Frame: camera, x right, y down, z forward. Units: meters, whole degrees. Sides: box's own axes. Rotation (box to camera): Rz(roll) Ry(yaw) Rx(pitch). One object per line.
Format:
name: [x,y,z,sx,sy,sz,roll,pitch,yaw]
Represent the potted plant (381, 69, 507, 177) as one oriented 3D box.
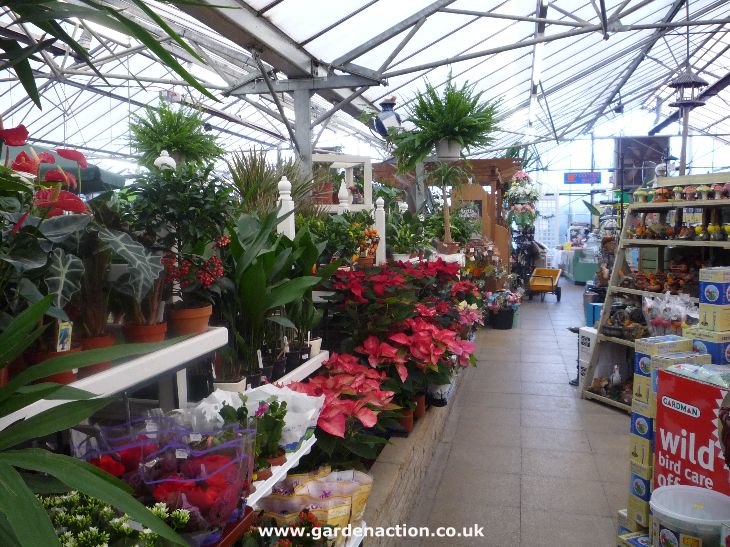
potted plant: [0.576,-1.091,4.102,0.761,0.596,0.786,-3,5,-30]
